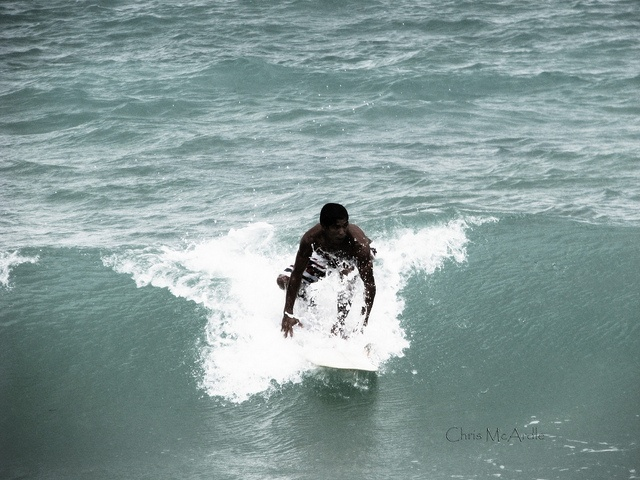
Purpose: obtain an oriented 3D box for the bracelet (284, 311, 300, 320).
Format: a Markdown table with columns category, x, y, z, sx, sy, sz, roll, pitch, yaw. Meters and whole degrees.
| category | x | y | z | sx | sy | sz | roll | pitch | yaw |
| --- | --- | --- | --- | --- | --- | --- | --- | --- | --- |
| bracelet | -0.567 | 1.432 | 18.810 | 0.364 | 0.092 | 0.086 | 18 | -4 | -11 |
